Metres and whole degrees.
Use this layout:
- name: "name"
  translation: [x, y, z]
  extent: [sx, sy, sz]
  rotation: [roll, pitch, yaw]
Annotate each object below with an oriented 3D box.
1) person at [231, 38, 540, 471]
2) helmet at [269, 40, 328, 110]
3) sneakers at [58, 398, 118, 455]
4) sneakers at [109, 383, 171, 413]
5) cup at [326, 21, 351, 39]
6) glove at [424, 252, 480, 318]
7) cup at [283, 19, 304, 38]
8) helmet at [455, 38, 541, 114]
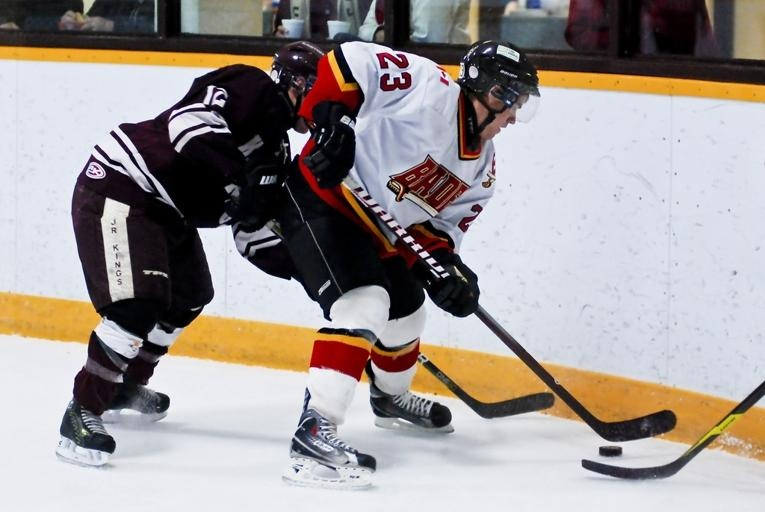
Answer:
- name: "person"
  translation: [0.056, -0.035, 3.846]
  extent: [0.808, 1.600, 0.650]
  rotation: [1, 13, -22]
- name: "helmet"
  translation: [-0.362, -0.724, 3.954]
  extent: [0.244, 0.219, 0.195]
  rotation: [18, -9, -14]
- name: "sneakers"
  translation: [-1.118, 0.652, 3.836]
  extent: [0.314, 0.217, 0.105]
  rotation: [2, -3, 43]
- name: "sneakers"
  translation: [-1.013, 0.576, 4.237]
  extent: [0.290, 0.128, 0.094]
  rotation: [4, 30, -39]
- name: "cup"
  translation: [-0.210, -1.081, 4.799]
  extent: [0.093, 0.067, 0.094]
  rotation: [1, 18, 0]
- name: "glove"
  translation: [0.271, 0.111, 3.806]
  extent: [0.087, 0.242, 0.174]
  rotation: [-29, 59, -6]
- name: "cup"
  translation: [-0.438, -1.105, 4.906]
  extent: [0.097, 0.071, 0.095]
  rotation: [0, 11, 0]
- name: "helmet"
  translation: [0.441, -0.638, 3.845]
  extent: [0.343, 0.307, 0.288]
  rotation: [12, 6, -11]
